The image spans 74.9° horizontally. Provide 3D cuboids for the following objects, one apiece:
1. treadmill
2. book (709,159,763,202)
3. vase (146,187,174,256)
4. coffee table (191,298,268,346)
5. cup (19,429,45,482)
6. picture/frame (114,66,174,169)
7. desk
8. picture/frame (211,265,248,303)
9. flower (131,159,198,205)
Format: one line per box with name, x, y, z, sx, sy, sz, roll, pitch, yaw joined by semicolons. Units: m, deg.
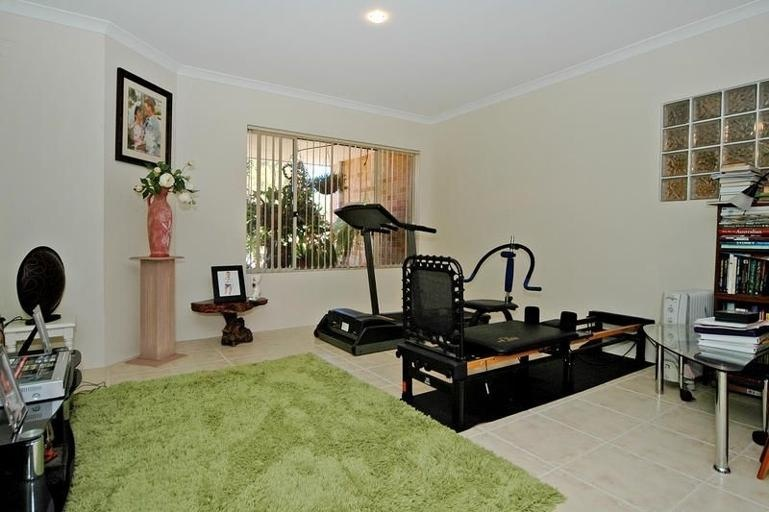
treadmill;0.180;0.242;6.292;1.790;1.598;1.062;-1;3;-33
book;3.419;-0.706;4.854;0.413;0.377;0.326;1;5;40
vase;-2.506;-0.364;5.591;0.246;0.753;0.292;-4;4;-25
coffee table;-1.860;0.787;6.119;0.645;0.591;0.866;7;4;41
cup;-2.286;1.279;3.267;0.120;0.356;0.107;-5;5;-35
picture/frame;-2.772;-1.580;5.727;0.094;1.312;1.066;1;1;26
desk;2.788;1.119;4.388;1.056;0.965;1.339;-2;3;-7
picture/frame;-1.955;0.353;6.267;0.466;0.554;0.036;0;-14;-45
flower;-2.422;-0.774;5.694;0.539;0.299;0.557;9;0;28
